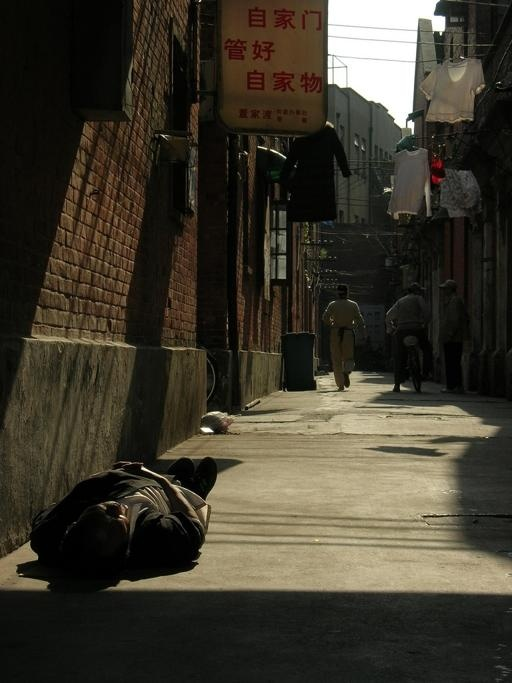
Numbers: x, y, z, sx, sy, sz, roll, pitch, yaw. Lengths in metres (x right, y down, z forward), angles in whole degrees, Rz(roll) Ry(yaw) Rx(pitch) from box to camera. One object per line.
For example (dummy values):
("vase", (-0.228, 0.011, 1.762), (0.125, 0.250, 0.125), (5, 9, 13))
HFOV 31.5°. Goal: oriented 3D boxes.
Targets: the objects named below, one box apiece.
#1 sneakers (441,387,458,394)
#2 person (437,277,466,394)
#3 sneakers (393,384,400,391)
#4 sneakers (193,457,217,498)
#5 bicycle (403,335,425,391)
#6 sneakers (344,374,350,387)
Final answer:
("sneakers", (3.449, 0.854, 16.122), (0.231, 0.161, 0.105), (0, -2, 14))
("person", (3.433, -0.115, 15.848), (0.470, 1.923, 0.907), (0, -4, 13))
("sneakers", (2.543, 0.824, 16.488), (0.063, 0.168, 0.137), (1, -8, -2))
("sneakers", (-0.243, 0.616, 4.070), (0.056, 0.102, 0.234), (4, 44, 5))
("bicycle", (2.866, 0.379, 16.527), (0.441, 0.818, 1.118), (-13, -9, 9))
("sneakers", (1.792, 0.763, 17.974), (0.090, 0.446, 0.139), (-1, 3, 0))
